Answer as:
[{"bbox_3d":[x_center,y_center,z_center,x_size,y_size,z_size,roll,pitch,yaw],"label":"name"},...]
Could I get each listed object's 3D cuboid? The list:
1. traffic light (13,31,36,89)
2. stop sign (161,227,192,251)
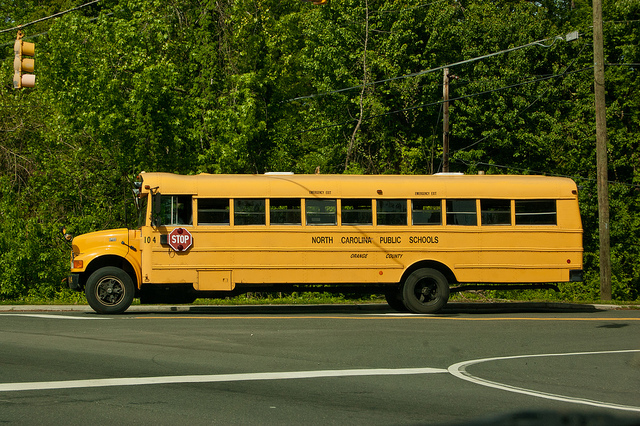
[{"bbox_3d":[-10.147,-5.345,31.471,0.757,1.980,0.643,3,9,8],"label":"traffic light"},{"bbox_3d":[-4.956,0.943,30.910,0.765,0.575,0.147,0,-11,1],"label":"stop sign"}]
